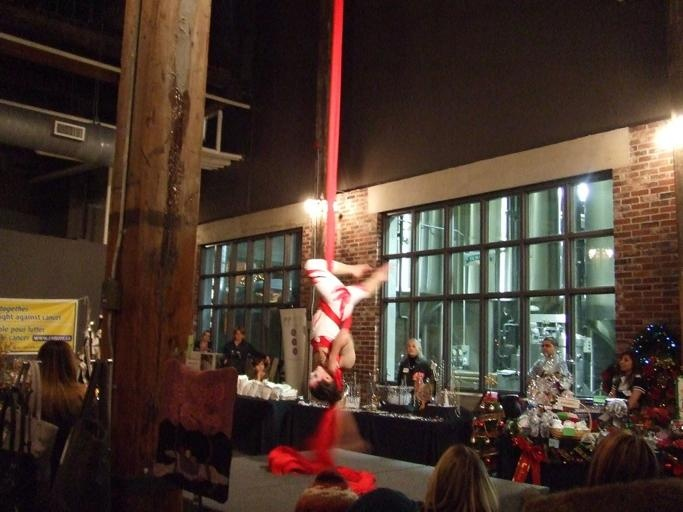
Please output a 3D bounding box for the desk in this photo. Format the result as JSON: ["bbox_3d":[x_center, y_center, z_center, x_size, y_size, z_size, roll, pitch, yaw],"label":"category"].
[{"bbox_3d":[-0.085,1.879,5.913,2.778,0.745,0.480,-3,-10,40],"label":"desk"}]

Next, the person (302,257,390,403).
[{"bbox_3d":[-0.013,0.565,4.374,0.599,1.095,0.376,4,-8,-1],"label":"person"}]
